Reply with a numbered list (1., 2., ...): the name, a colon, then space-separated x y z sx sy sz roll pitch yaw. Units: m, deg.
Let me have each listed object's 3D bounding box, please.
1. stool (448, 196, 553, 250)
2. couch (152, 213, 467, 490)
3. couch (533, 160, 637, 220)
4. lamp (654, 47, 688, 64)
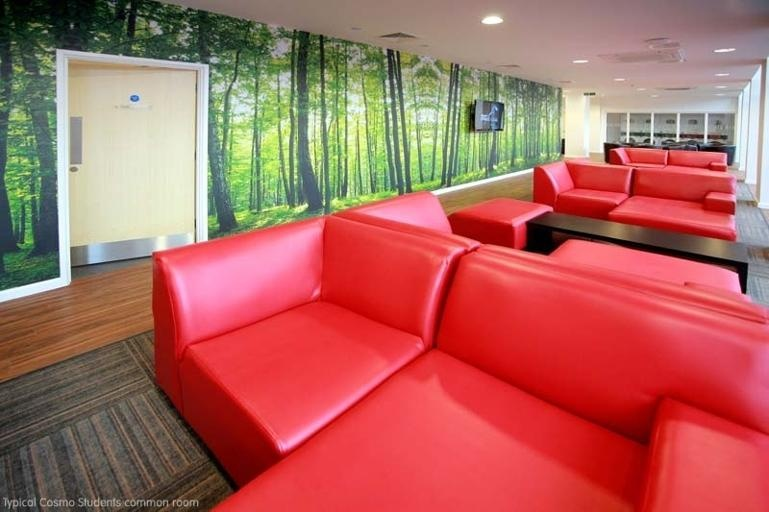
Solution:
1. stool: 1.255 -0.490 4.782 0.712 0.311 0.670 12 18 42
2. couch: -0.313 0.429 2.832 1.476 0.996 1.571 21 29 37
3. couch: 2.619 -0.904 6.031 1.171 0.818 0.870 12 23 34
4. lamp: 4.409 -3.133 7.125 0.448 0.120 0.311 5 48 19
